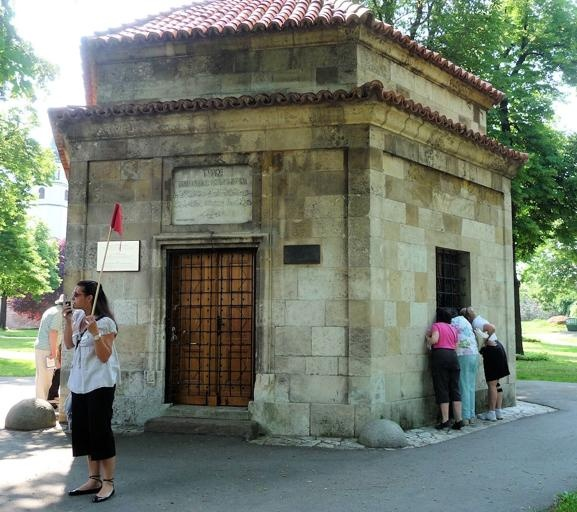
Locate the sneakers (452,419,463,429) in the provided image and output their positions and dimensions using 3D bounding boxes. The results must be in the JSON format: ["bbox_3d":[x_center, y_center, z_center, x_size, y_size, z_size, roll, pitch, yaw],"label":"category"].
[{"bbox_3d":[2.916,2.884,10.771,0.217,0.167,0.171,-2,-8,8],"label":"sneakers"}]

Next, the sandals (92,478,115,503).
[{"bbox_3d":[-2.085,2.630,7.096,0.186,0.231,0.324,0,-8,0],"label":"sandals"}]

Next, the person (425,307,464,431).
[{"bbox_3d":[2.726,2.071,10.918,0.556,1.823,0.355,-1,-8,3],"label":"person"}]

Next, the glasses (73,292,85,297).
[{"bbox_3d":[-2.432,0.430,7.205,0.058,0.042,0.080,-5,-13,2],"label":"glasses"}]

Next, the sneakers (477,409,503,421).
[{"bbox_3d":[3.773,2.985,11.819,0.195,0.233,0.497,3,-4,-42],"label":"sneakers"}]

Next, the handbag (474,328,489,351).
[{"bbox_3d":[3.527,1.503,11.437,0.089,0.323,0.234,4,10,-20],"label":"handbag"}]

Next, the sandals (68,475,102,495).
[{"bbox_3d":[-2.293,2.628,7.193,0.503,0.235,0.162,3,-8,-7],"label":"sandals"}]

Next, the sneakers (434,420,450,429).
[{"bbox_3d":[2.635,2.877,10.731,0.237,0.112,0.114,2,-5,-8],"label":"sneakers"}]

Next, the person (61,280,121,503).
[{"bbox_3d":[-2.276,1.507,7.202,0.563,2.476,0.709,6,-10,-39],"label":"person"}]
